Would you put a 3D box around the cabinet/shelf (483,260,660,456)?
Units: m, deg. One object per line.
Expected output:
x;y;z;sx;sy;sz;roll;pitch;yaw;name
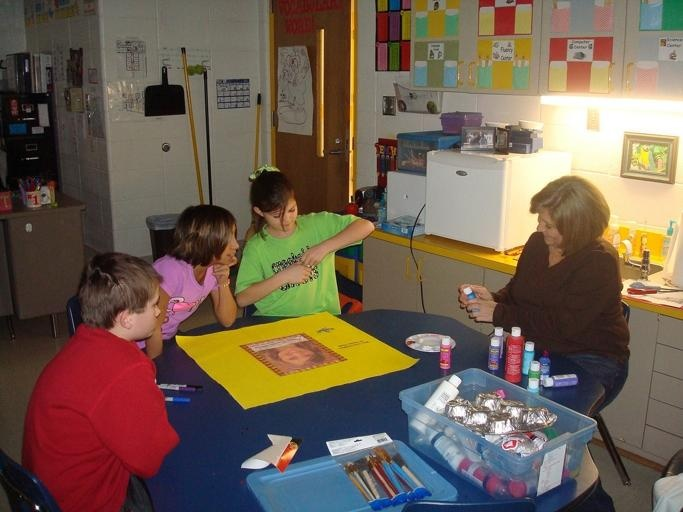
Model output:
1.434;0.575;3.072;0.643;0.988;0.562;-5;11;-40;cabinet/shelf

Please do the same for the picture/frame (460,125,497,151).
0.882;-0.752;3.279;0.186;0.143;0.021;4;15;18;picture/frame

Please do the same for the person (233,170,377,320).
-0.193;-0.060;2.485;0.636;0.738;0.512;-3;12;2;person

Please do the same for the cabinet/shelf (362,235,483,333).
0.525;0.149;3.119;0.188;0.485;0.491;-7;16;-37;cabinet/shelf

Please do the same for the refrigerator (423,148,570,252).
1.012;-0.473;3.401;0.717;0.673;0.678;-11;18;-35;refrigerator

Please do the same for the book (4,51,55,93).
-3.881;-2.276;6.378;0.329;0.538;0.879;-14;16;-42;book

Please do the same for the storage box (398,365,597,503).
0.381;0.409;1.413;0.308;0.154;0.400;-14;23;-34;storage box

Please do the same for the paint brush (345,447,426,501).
0.114;0.587;1.363;0.097;0.029;0.130;-5;21;-20;paint brush
